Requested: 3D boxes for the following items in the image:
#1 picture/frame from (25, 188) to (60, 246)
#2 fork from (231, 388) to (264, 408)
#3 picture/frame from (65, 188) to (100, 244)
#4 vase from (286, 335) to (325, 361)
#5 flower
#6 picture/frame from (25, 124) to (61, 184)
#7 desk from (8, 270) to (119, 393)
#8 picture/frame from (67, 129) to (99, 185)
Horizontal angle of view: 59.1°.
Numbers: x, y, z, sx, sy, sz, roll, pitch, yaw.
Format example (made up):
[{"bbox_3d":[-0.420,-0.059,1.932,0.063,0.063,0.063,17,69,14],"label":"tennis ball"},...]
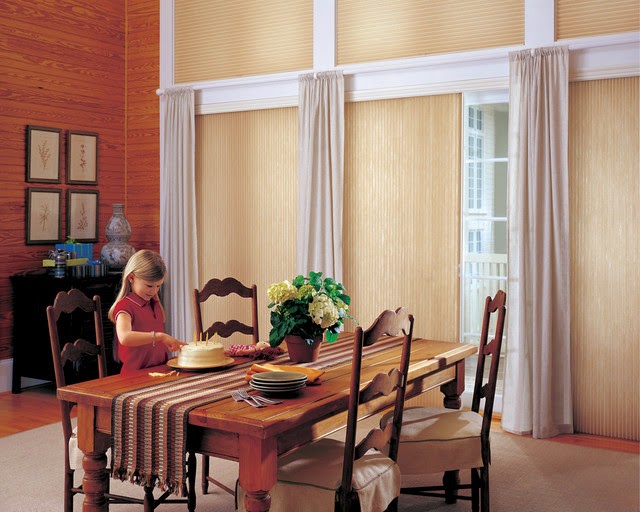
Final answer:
[{"bbox_3d":[-2.634,-0.380,5.394,0.082,0.526,0.361,0,4,26],"label":"picture/frame"},{"bbox_3d":[-0.281,0.542,2.184,0.048,0.020,0.134,-4,11,-35],"label":"fork"},{"bbox_3d":[-2.387,-0.398,5.706,0.046,0.535,0.349,1,4,36],"label":"picture/frame"},{"bbox_3d":[-0.085,0.465,2.792,0.142,0.094,0.144,0,-6,7],"label":"vase"},{"bbox_3d":[-0.097,0.248,2.851,0.376,0.334,0.368,15,4,36],"label":"flower"},{"bbox_3d":[-2.626,-0.966,5.396,0.058,0.524,0.367,1,4,29],"label":"picture/frame"},{"bbox_3d":[-2.305,0.704,5.295,0.904,1.008,0.988,-3,-8,-9],"label":"desk"},{"bbox_3d":[-2.386,-0.986,5.699,0.048,0.524,0.335,1,5,37],"label":"picture/frame"}]
